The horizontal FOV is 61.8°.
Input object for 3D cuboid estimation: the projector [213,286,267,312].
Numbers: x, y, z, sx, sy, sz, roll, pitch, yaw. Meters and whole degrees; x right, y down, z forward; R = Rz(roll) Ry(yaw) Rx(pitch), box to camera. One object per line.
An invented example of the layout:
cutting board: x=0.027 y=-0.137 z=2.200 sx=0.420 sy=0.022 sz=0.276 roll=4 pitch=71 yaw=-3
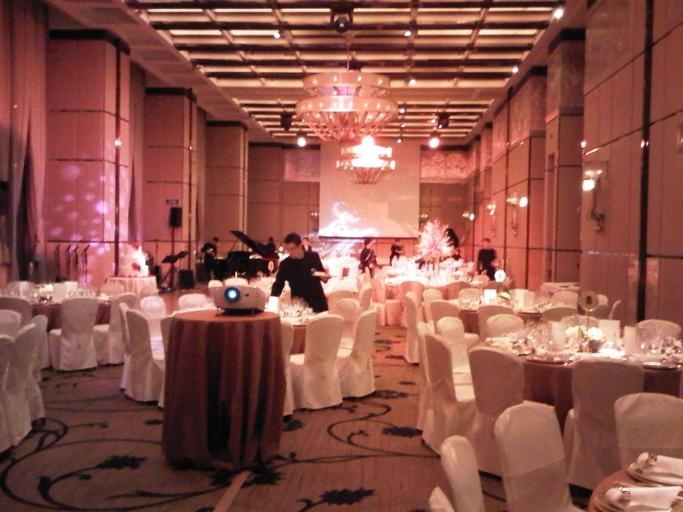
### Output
projector: x=-0.916 y=0.356 z=5.175 sx=0.334 sy=0.195 sz=0.267 roll=0 pitch=-1 yaw=10

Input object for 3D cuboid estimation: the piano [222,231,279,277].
piano: x=-3.015 y=-0.057 z=18.486 sx=1.897 sy=1.418 sz=1.881 roll=-2 pitch=8 yaw=-40

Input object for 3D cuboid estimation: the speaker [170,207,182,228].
speaker: x=-4.779 y=-1.083 z=16.467 sx=0.391 sy=0.629 sz=0.312 roll=-3 pitch=9 yaw=-20

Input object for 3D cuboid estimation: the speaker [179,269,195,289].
speaker: x=-4.552 y=0.658 z=16.807 sx=0.478 sy=0.745 sz=0.505 roll=3 pitch=5 yaw=1

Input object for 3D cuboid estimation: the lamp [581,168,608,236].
lamp: x=3.910 y=-0.876 z=8.860 sx=0.261 sy=1.018 sz=0.359 roll=0 pitch=8 yaw=0
